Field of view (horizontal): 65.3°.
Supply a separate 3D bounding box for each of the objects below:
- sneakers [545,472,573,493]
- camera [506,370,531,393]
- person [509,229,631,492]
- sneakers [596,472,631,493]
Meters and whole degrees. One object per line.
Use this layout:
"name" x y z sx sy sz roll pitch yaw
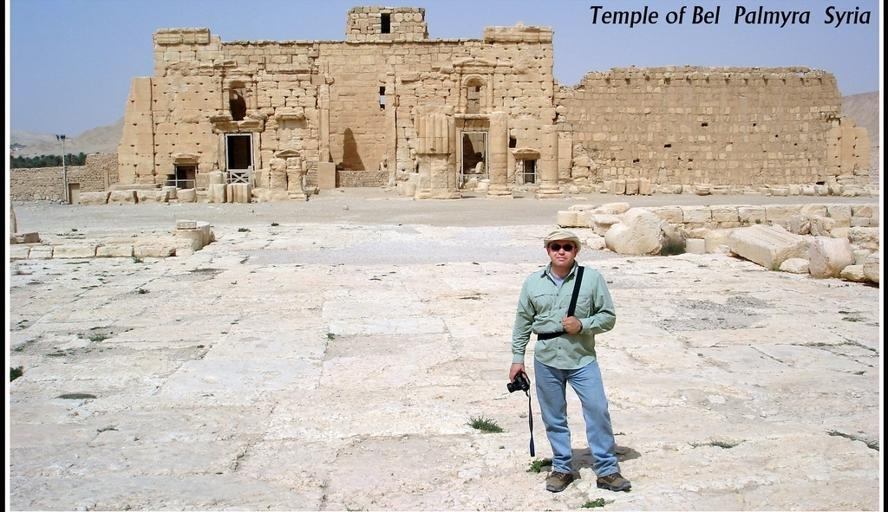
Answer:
"sneakers" 0.981 1.945 5.966 0.125 0.089 0.286 -5 -9 35
"camera" 0.667 1.152 6.261 0.306 0.192 0.100 7 5 -6
"person" 1.088 0.893 6.117 0.986 2.225 0.671 -1 7 5
"sneakers" 1.449 1.934 5.919 0.295 0.095 0.128 -3 -1 33
